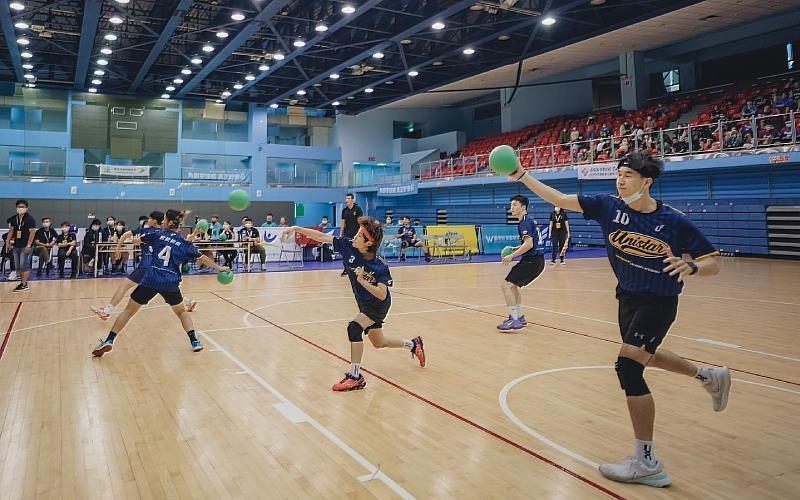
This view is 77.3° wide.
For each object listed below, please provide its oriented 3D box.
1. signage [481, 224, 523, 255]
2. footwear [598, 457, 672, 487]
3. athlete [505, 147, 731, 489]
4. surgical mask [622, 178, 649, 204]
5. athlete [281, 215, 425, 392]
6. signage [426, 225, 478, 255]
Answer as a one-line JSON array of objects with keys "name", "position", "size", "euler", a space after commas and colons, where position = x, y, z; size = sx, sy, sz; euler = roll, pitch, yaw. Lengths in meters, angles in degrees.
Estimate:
[{"name": "signage", "position": [4.345, -0.468, 22.054], "size": [1.772, 1.035, 0.540], "euler": [-1, -5, -25]}, {"name": "footwear", "position": [2.403, 2.262, 5.198], "size": [0.786, 0.290, 0.263], "euler": [5, -25, 11]}, {"name": "athlete", "position": [2.607, 0.619, 5.542], "size": [1.584, 3.355, 1.460], "euler": [-9, 14, -35]}, {"name": "surgical mask", "position": [2.479, -0.625, 5.331], "size": [0.218, 0.186, 0.114], "euler": [18, -38, -4]}, {"name": "athlete", "position": [-0.448, 0.705, 7.060], "size": [1.396, 2.345, 0.730], "euler": [-4, 12, -13]}, {"name": "signage", "position": [2.758, -0.560, 24.162], "size": [3.131, 1.446, 1.066], "euler": [-1, 11, 42]}]
